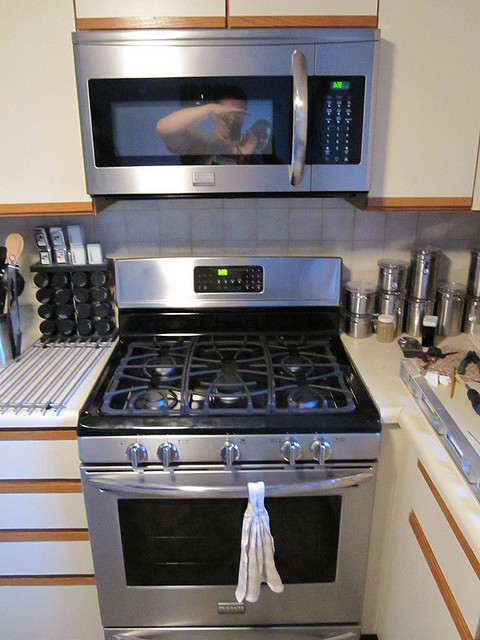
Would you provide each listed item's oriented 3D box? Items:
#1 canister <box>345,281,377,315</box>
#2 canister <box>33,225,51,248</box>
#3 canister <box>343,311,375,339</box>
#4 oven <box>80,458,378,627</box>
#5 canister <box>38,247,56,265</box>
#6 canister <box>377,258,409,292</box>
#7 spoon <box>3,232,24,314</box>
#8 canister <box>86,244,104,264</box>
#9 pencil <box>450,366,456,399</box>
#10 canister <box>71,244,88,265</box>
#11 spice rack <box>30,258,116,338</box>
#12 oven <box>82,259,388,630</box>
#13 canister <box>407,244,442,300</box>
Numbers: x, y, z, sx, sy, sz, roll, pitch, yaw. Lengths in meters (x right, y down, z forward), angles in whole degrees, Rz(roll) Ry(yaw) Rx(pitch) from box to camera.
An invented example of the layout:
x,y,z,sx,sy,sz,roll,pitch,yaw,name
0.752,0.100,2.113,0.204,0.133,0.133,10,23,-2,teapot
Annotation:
x,y,z,sx,sy,sz,roll,pitch,yaw,name
0.394,-0.068,1.650,0.100,0.106,0.102,-10,23,-23,canister
-0.655,-0.277,1.633,0.041,0.068,0.070,-1,19,-2,canister
0.394,0.023,1.642,0.083,0.090,0.086,-3,23,-6,canister
-0.024,0.540,1.454,0.743,0.566,0.523,-1,11,-2,oven
-0.641,-0.216,1.666,0.041,0.072,0.058,0,23,-6,canister
0.500,-0.146,1.651,0.104,0.094,0.106,-10,23,-17,canister
-0.704,-0.152,1.512,0.048,0.283,0.038,6,5,-2,spoon
-0.486,-0.228,1.670,0.057,0.086,0.059,2,22,-1,canister
0.531,0.160,1.224,0.007,0.069,0.007,6,-20,27,pencil
-0.537,-0.225,1.662,0.056,0.081,0.056,1,21,-1,canister
-0.570,-0.062,1.712,0.266,0.266,0.106,-2,9,5,spice rack
-0.021,0.367,1.448,0.781,0.965,0.685,0,19,2,oven
0.600,-0.153,1.653,0.092,0.193,0.097,0,21,0,canister
